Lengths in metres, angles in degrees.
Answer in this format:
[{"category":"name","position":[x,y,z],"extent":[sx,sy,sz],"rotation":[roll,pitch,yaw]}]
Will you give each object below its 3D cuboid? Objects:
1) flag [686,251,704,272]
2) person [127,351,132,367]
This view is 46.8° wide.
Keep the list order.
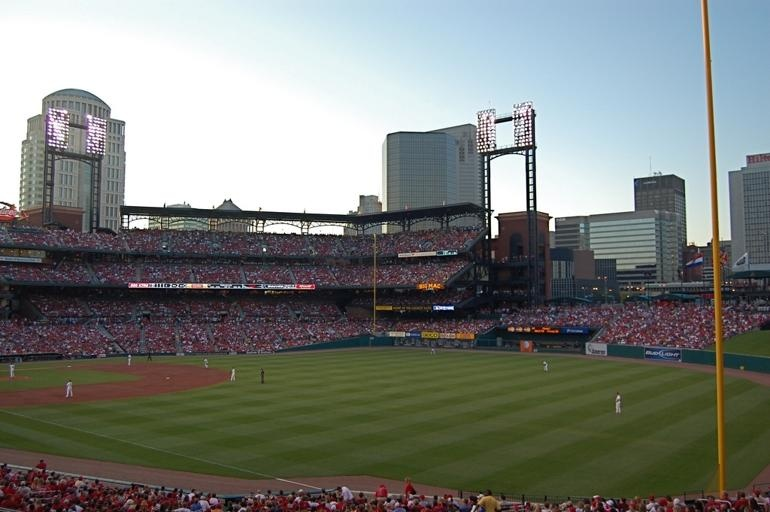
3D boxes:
[{"category":"flag","position":[61.503,0.894,176.843],"extent":[6.346,3.791,0.658],"rotation":[-3,8,-23]},{"category":"person","position":[-31.009,12.362,107.587],"extent":[0.499,1.411,0.967],"rotation":[-1,-2,-40]}]
